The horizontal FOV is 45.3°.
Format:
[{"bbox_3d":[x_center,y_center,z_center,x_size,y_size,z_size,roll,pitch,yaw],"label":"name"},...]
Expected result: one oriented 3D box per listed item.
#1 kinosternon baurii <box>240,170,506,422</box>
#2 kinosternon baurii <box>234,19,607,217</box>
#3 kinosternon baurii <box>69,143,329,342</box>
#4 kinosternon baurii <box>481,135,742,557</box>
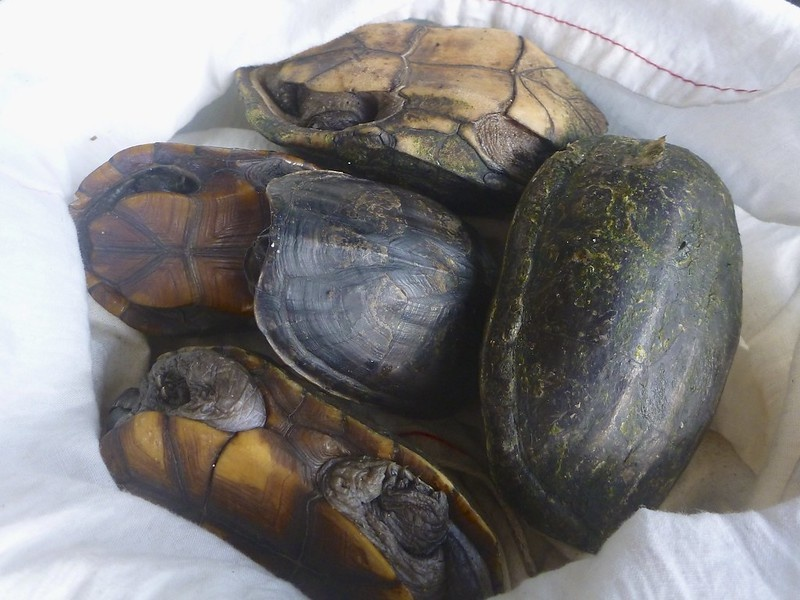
[{"bbox_3d":[-0.110,-0.045,2.963,0.786,0.302,0.768,19,47,-19],"label":"kinosternon baurii"},{"bbox_3d":[-0.002,-0.572,3.643,1.726,0.594,1.398,7,14,9],"label":"kinosternon baurii"},{"bbox_3d":[-0.697,-0.200,3.116,0.684,0.584,0.192,2,-9,1],"label":"kinosternon baurii"},{"bbox_3d":[0.662,0.092,2.792,0.690,0.405,1.259,14,65,5],"label":"kinosternon baurii"}]
